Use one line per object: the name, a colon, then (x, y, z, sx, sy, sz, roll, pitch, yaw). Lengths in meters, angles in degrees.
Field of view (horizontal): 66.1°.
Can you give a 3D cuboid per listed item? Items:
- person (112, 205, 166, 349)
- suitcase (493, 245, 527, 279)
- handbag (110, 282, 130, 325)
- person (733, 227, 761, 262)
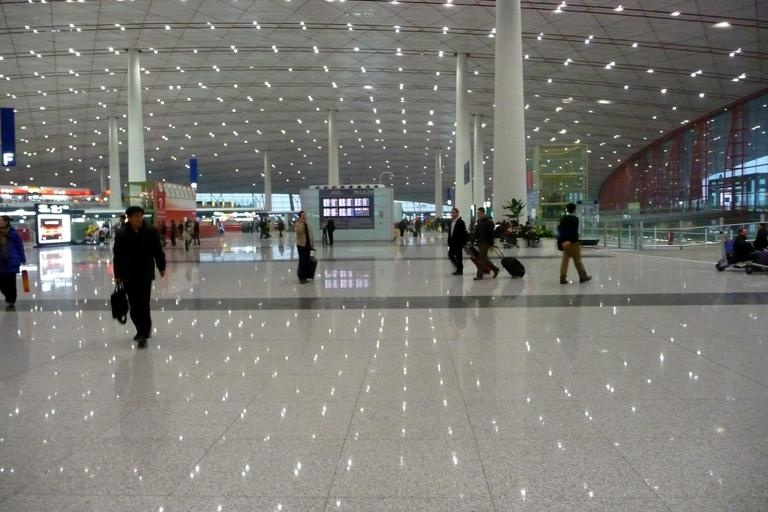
person: (-3.285, 0.249, 7.931, 0.630, 1.815, 0.596, -3, 4, -24)
suitcase: (3.537, 0.193, 16.594, 0.437, 1.143, 0.440, -34, 19, 5)
handbag: (-3.667, 0.689, 8.194, 0.267, 0.642, 0.461, -2, -28, -20)
person: (8.785, -0.233, 14.330, 0.496, 0.853, 0.664, 0, 4, 20)
